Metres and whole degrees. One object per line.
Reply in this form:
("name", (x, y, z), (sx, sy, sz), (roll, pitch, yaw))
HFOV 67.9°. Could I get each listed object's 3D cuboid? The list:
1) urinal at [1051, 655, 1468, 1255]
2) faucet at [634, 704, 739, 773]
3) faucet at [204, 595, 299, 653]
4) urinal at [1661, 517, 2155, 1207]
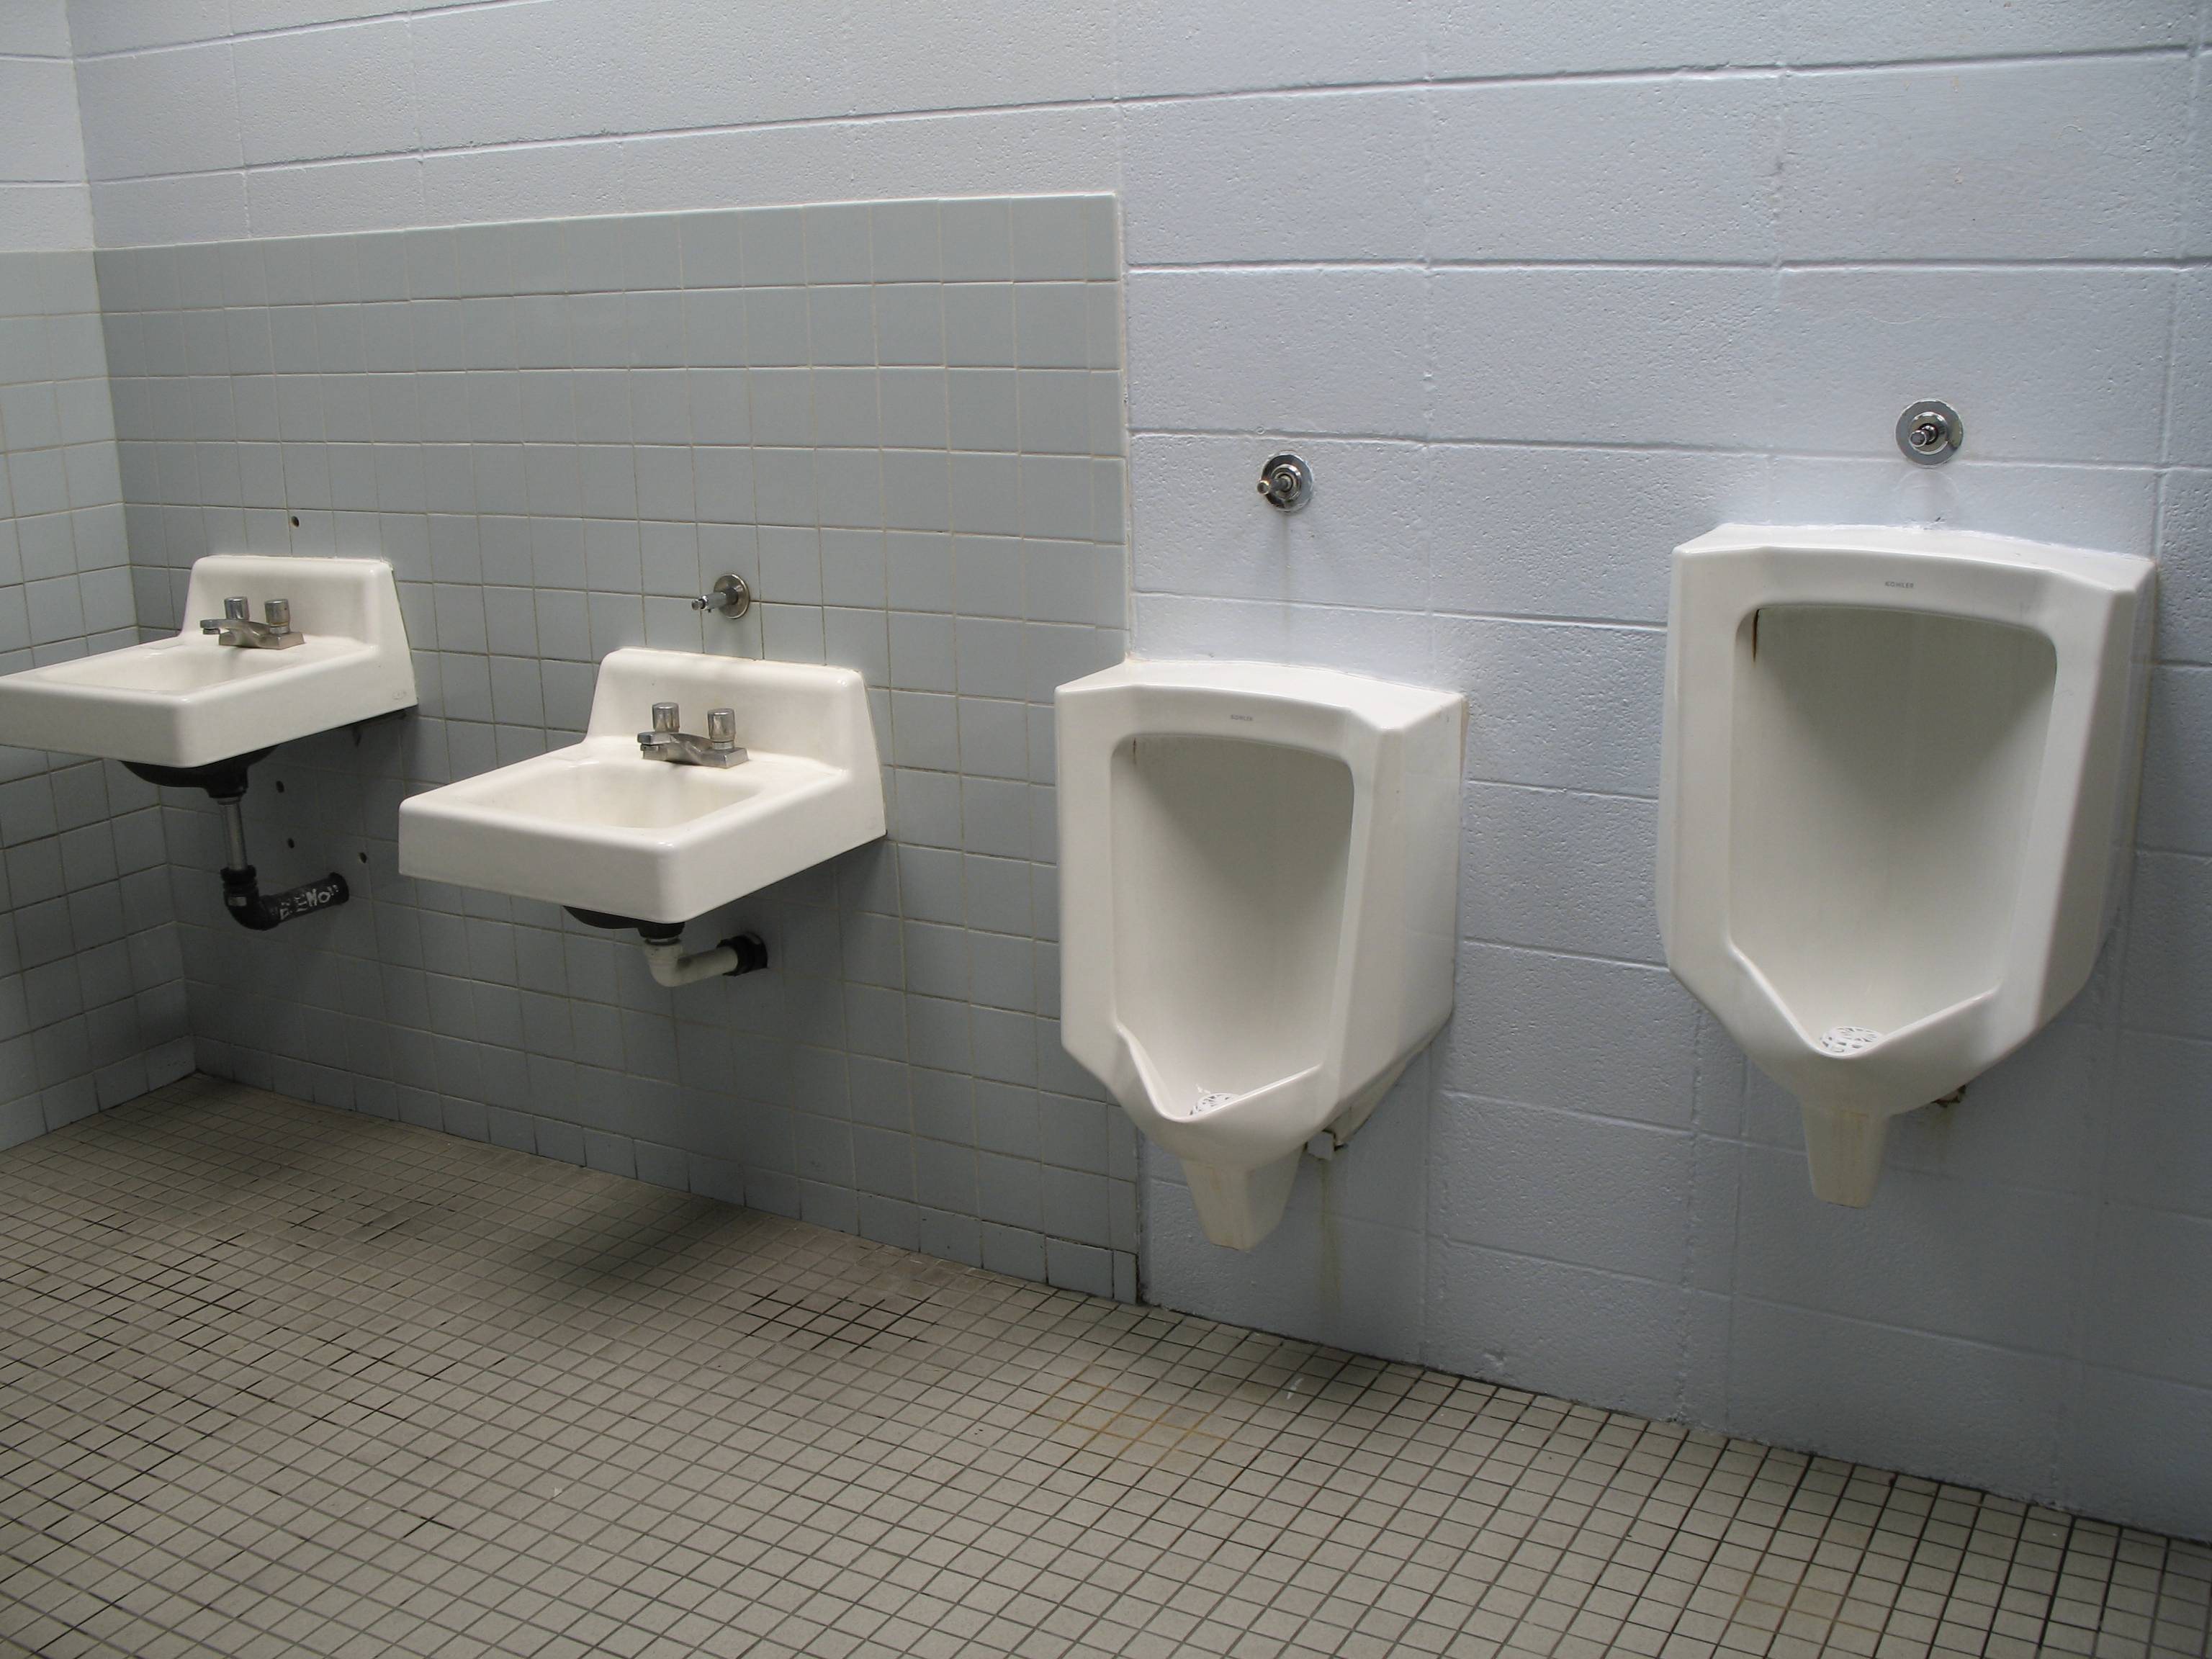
("urinal", (0.198, 0.111, 2.418), (0.539, 0.660, 0.432), (13, 23, 31))
("faucet", (-0.702, -0.158, 2.797), (0.189, 0.107, 0.049), (6, 21, 16))
("faucet", (-1.686, -0.394, 3.226), (0.255, 0.112, 0.088), (1, 11, 7))
("urinal", (1.030, -0.025, 2.179), (0.560, 0.778, 0.467), (10, 18, 27))
